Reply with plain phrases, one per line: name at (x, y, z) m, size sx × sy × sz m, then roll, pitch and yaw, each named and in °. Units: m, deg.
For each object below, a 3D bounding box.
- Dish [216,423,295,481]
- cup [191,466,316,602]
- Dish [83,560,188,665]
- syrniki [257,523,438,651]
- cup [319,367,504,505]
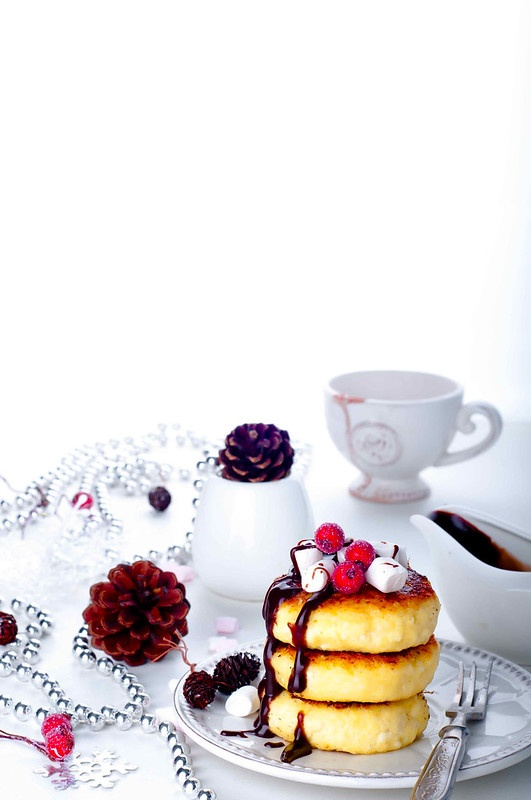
Dish at (-0.009, 0.062, 0.852) m, size 0.075 × 0.048 × 0.070 m, roll 0°, pitch 37°, yaw 6°
cup at (-0.010, 0.152, 0.921) m, size 0.146 × 0.134 × 0.142 m, roll 1°, pitch 12°, yaw 0°
Dish at (-0.132, 0.214, 0.743) m, size 0.102 × 0.075 × 0.086 m, roll 2°, pitch 11°, yaw -3°
syrniki at (0.068, 0.136, 0.541) m, size 0.100 × 0.059 × 0.097 m, roll -3°, pitch 8°, yaw -24°
cup at (0.252, 0.074, 1.315) m, size 0.287 × 0.196 × 0.232 m, roll 5°, pitch 18°, yaw 20°
